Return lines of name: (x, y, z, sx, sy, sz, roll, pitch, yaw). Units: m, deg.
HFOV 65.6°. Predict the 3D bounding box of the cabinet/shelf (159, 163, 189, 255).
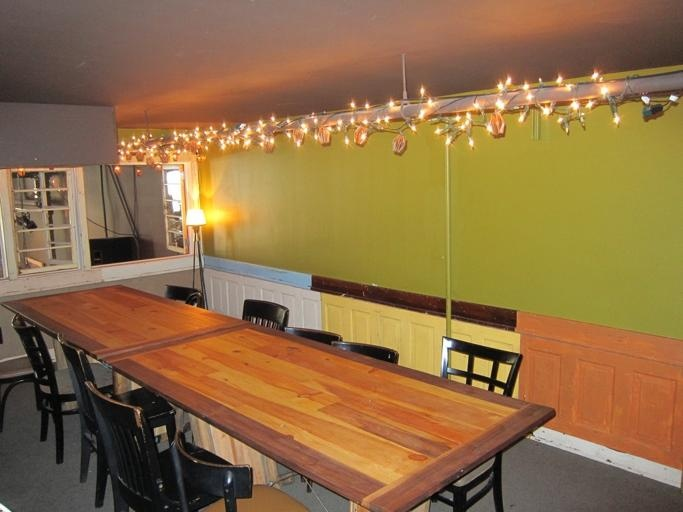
cabinet/shelf: (-2.447, -0.682, 7.764, 0.272, 1.261, 0.596, -5, 13, -23)
